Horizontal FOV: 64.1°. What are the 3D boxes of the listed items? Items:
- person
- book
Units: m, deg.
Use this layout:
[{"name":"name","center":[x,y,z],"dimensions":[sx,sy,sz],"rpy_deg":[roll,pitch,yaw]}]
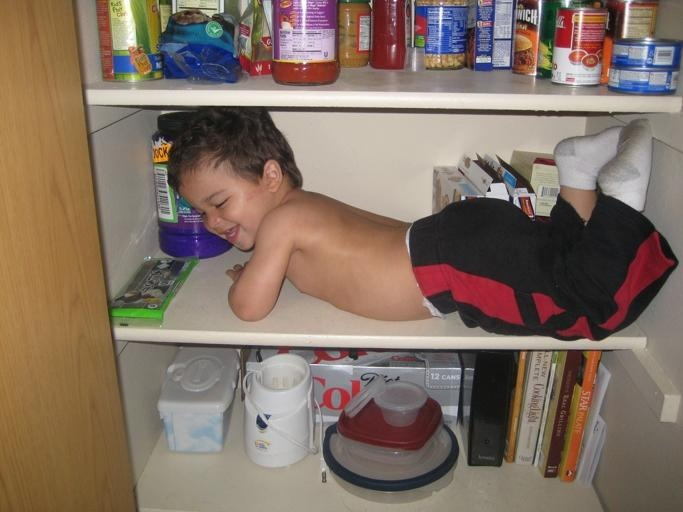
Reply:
[{"name":"person","center":[0.124,-0.165,1.259],"dimensions":[1.071,0.479,0.438],"rpy_deg":[4,24,16]},{"name":"book","center":[0.512,0.373,1.354],"dimensions":[0.097,0.332,0.239],"rpy_deg":[6,4,5]}]
